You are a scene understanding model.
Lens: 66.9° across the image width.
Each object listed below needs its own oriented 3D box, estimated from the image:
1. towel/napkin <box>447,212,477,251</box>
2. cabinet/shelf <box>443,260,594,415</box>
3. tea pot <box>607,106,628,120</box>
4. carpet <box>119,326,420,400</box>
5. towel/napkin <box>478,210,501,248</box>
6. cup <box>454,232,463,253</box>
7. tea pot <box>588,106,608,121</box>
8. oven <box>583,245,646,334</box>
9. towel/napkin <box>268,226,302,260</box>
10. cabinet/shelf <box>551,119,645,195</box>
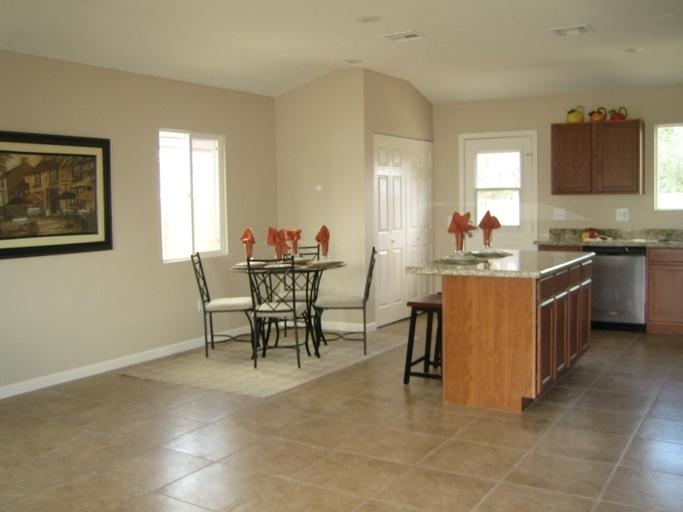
[{"bbox_3d":[1.113,-0.246,4.941,0.301,0.344,0.291,2,10,-9],"label":"towel/napkin"},{"bbox_3d":[1.726,0.633,5.032,0.949,1.128,1.834,0,3,33],"label":"cabinet/shelf"},{"bbox_3d":[3.815,-1.961,7.155,0.245,0.234,0.385,2,7,27],"label":"tea pot"},{"bbox_3d":[-0.891,1.195,5.653,2.808,0.023,1.899,-1,6,-2],"label":"carpet"},{"bbox_3d":[1.590,-0.266,5.438,0.202,0.294,0.213,14,4,-10],"label":"towel/napkin"},{"bbox_3d":[1.114,-0.139,4.895,0.076,0.222,0.085,0,7,9],"label":"cup"},{"bbox_3d":[3.593,-1.972,7.289,0.247,0.287,0.279,7,4,24],"label":"tea pot"},{"bbox_3d":[3.777,0.498,7.084,0.937,1.116,0.955,18,-10,-37],"label":"oven"},{"bbox_3d":[-0.699,-0.164,6.246,0.404,0.352,0.400,-2,1,-32],"label":"towel/napkin"},{"bbox_3d":[3.567,-1.370,7.113,0.993,0.918,0.399,1,3,27],"label":"cabinet/shelf"}]
